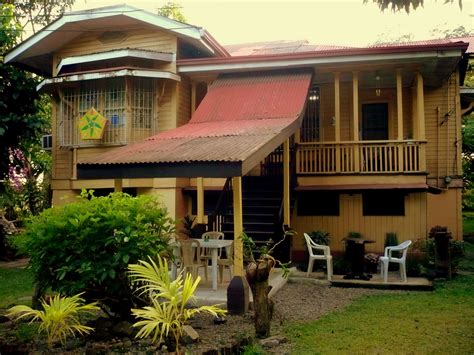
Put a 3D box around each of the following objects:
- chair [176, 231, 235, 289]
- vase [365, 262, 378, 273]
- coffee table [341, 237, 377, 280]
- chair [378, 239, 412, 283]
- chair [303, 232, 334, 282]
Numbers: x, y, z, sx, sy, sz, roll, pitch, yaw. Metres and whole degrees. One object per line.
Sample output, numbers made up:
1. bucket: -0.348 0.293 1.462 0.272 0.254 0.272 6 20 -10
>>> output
1. chair: -0.726 2.064 12.602 1.319 0.976 1.347 -2 -7 17
2. vase: 4.115 2.789 15.217 0.295 0.274 0.320 -1 -14 12
3. coffee table: 3.476 2.367 14.239 1.135 1.146 1.030 -9 -9 44
4. chair: 4.444 2.359 14.016 0.864 1.116 0.981 -1 -3 28
5. chair: 2.410 2.344 14.499 1.013 1.200 0.932 4 -4 -10
